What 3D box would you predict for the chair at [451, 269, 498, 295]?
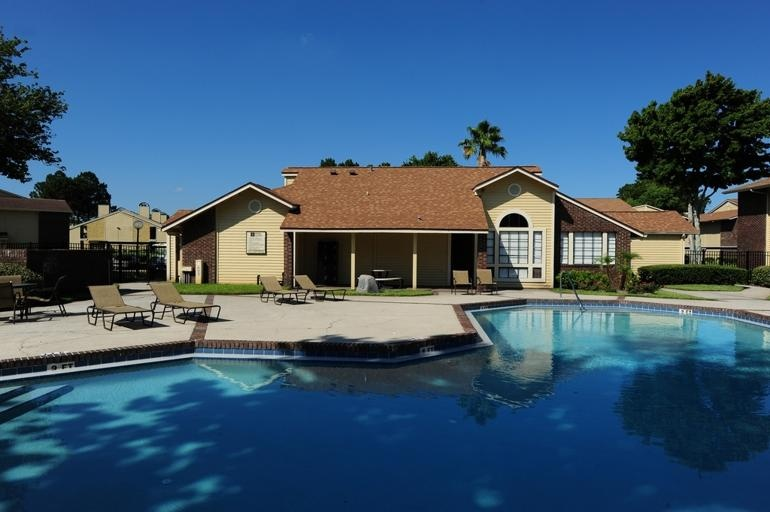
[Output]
[{"bbox_3d":[4.738,1.305,29.703,2.277,1.226,2.414,-1,-2,8],"label":"chair"}]
